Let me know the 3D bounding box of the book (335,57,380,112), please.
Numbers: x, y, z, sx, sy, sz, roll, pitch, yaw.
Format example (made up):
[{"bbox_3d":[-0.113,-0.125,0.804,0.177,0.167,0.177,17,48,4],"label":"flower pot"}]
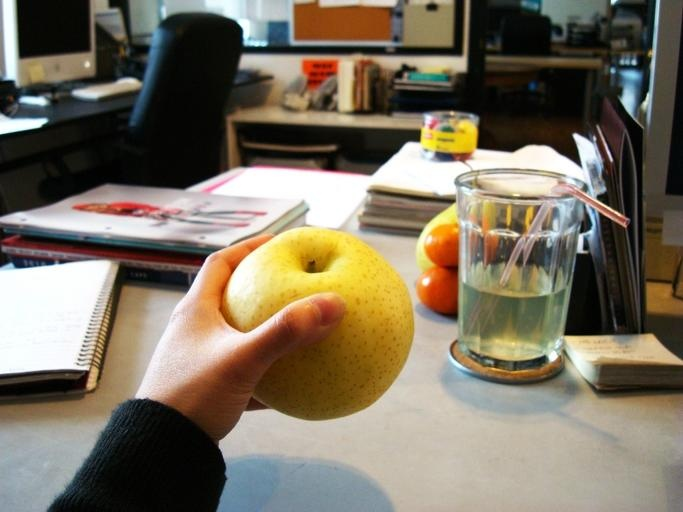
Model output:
[{"bbox_3d":[0.112,-0.782,2.763,0.207,0.317,0.320,4,15,11],"label":"book"}]

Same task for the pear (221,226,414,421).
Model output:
[{"bbox_3d":[-0.018,0.058,0.553,0.165,0.129,0.164,17,36,12],"label":"pear"}]

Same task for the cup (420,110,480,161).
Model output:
[{"bbox_3d":[0.230,-0.249,1.228,0.137,0.109,0.138,1,17,0],"label":"cup"}]

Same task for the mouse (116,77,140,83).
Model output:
[{"bbox_3d":[-0.934,-0.773,2.489,0.084,0.025,0.089,6,15,32],"label":"mouse"}]

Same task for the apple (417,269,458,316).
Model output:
[{"bbox_3d":[0.128,0.051,0.728,0.056,0.054,0.054,-2,-12,20],"label":"apple"}]

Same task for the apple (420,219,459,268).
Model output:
[{"bbox_3d":[0.127,-0.013,0.703,0.050,0.049,0.049,-7,23,17],"label":"apple"}]
